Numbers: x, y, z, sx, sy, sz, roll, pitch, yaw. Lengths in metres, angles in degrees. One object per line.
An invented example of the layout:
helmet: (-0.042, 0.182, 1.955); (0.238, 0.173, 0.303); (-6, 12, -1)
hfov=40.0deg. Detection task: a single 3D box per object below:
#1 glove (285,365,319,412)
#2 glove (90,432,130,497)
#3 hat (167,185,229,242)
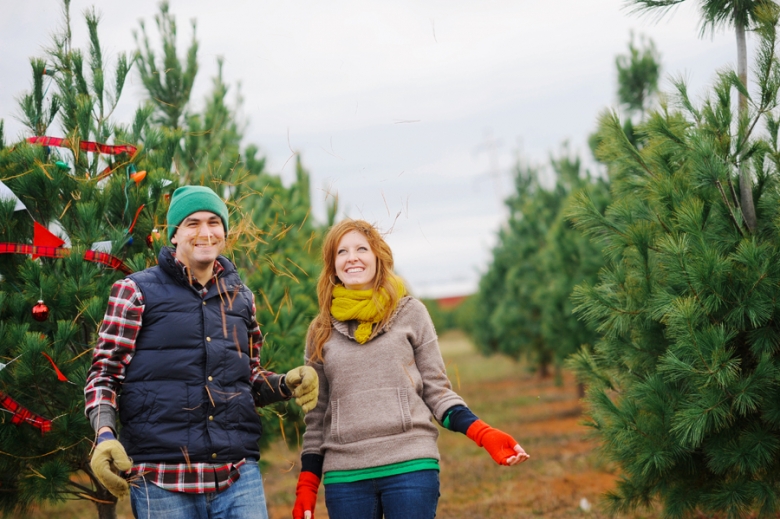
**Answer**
glove: (-0.605, 0.852, 7.645); (0.200, 0.152, 0.275); (-24, 16, -11)
glove: (-1.864, 1.362, 7.199); (0.261, 0.438, 0.248); (-9, 0, -18)
hat: (-1.359, -0.343, 7.532); (0.327, 0.391, 0.364); (2, -3, -29)
